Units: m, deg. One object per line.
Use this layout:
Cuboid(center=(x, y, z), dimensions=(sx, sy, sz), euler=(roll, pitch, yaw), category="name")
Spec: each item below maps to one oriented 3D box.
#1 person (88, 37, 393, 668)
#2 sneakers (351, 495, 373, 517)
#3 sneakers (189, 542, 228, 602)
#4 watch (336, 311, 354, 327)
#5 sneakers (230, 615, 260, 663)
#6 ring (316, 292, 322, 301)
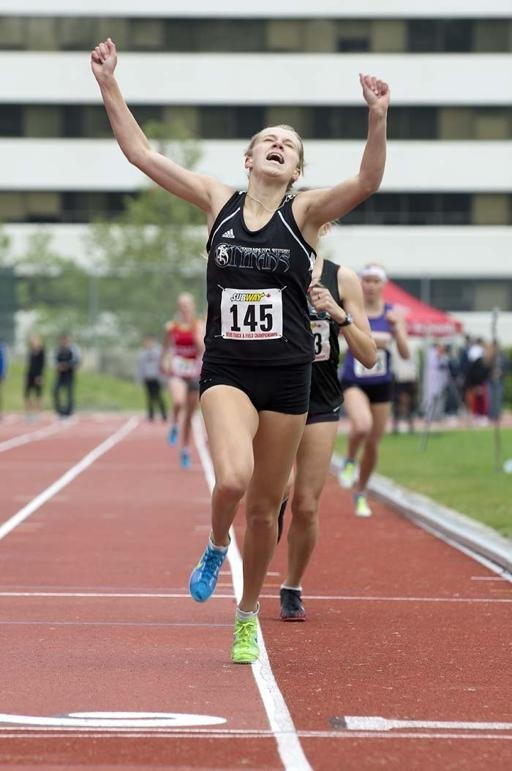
Cuboid(center=(-0.042, -0.088, 3.648), dimensions=(0.967, 1.854, 0.502), euler=(3, 1, 29), category="person")
Cuboid(center=(0.718, 0.815, 7.672), dimensions=(0.059, 0.065, 0.177), euler=(-13, 21, 3), category="sneakers")
Cuboid(center=(-0.131, 0.570, 3.722), dimensions=(0.082, 0.119, 0.253), euler=(25, 30, -4), category="sneakers")
Cuboid(center=(0.333, -0.238, 4.261), dimensions=(0.058, 0.043, 0.065), euler=(-3, -3, 18), category="watch")
Cuboid(center=(-0.030, 0.842, 3.769), dimensions=(0.063, 0.082, 0.188), euler=(-1, 13, -2), category="sneakers")
Cuboid(center=(0.207, -0.287, 3.746), dimensions=(0.016, 0.021, 0.007), euler=(7, 10, 38), category="ring")
